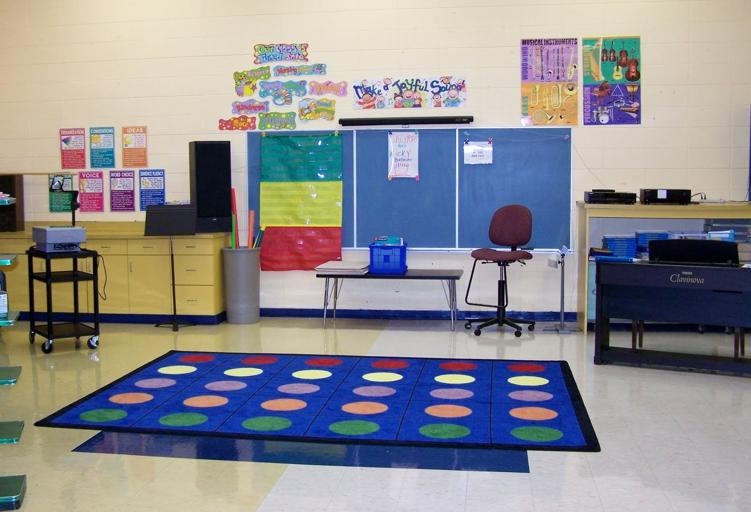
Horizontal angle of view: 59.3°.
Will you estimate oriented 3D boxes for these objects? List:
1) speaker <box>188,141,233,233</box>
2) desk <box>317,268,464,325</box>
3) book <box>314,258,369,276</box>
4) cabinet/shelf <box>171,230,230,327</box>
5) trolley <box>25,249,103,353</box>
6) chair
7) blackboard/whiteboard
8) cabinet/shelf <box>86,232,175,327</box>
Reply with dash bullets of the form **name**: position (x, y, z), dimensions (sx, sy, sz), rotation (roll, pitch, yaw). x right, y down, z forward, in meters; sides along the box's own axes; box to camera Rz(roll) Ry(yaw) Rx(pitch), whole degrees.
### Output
- **speaker**: position (-2.041, -0.854, 8.230), dimensions (0.502, 1.123, 0.333), rotation (-4, 15, -12)
- **desk**: position (0.153, 0.466, 8.138), dimensions (1.786, 0.776, 0.830), rotation (1, 14, 8)
- **book**: position (-0.392, 0.115, 8.033), dimensions (0.627, 0.070, 0.630), rotation (0, 13, 0)
- **cabinet/shelf**: position (-2.223, 0.232, 8.279), dimensions (0.591, 1.039, 0.458), rotation (-1, 14, -2)
- **trolley**: position (-3.481, 0.488, 7.341), dimensions (0.769, 0.942, 0.739), rotation (4, 4, 35)
- **chair**: position (1.505, 0.158, 7.866), dimensions (0.849, 1.486, 0.937), rotation (1, 14, 8)
- **blackboard/whiteboard**: position (0.974, -0.833, 8.215), dimensions (2.844, 1.478, 0.280), rotation (1, 15, 6)
- **cabinet/shelf**: position (-3.020, 0.259, 8.467), dimensions (1.298, 1.005, 0.434), rotation (0, 2, 21)
